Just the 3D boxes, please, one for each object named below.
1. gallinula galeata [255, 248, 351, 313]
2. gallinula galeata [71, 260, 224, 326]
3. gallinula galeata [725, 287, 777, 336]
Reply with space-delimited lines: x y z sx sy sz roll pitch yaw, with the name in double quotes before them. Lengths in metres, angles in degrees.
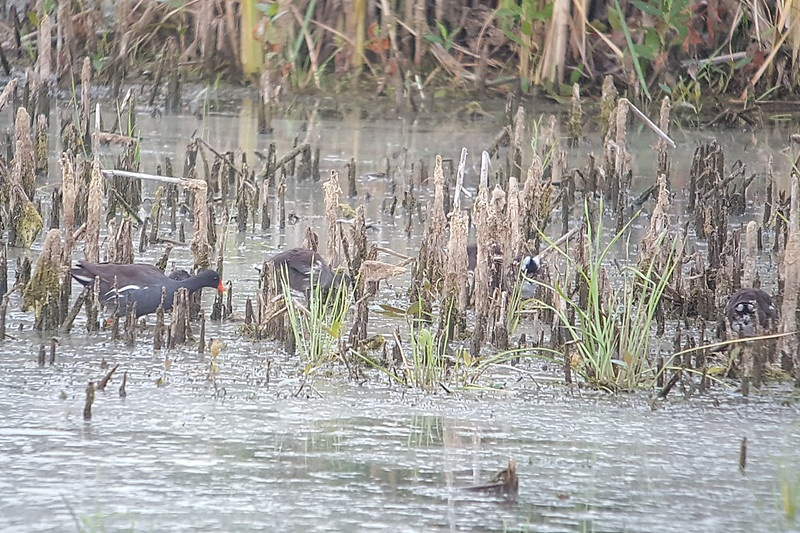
"gallinula galeata" -0.644 0.068 8.563 0.549 0.334 0.774 1 7 4
"gallinula galeata" -1.698 0.159 8.216 1.000 0.363 0.482 -1 8 -13
"gallinula galeata" 2.318 0.305 8.090 0.302 0.349 0.345 0 5 9
